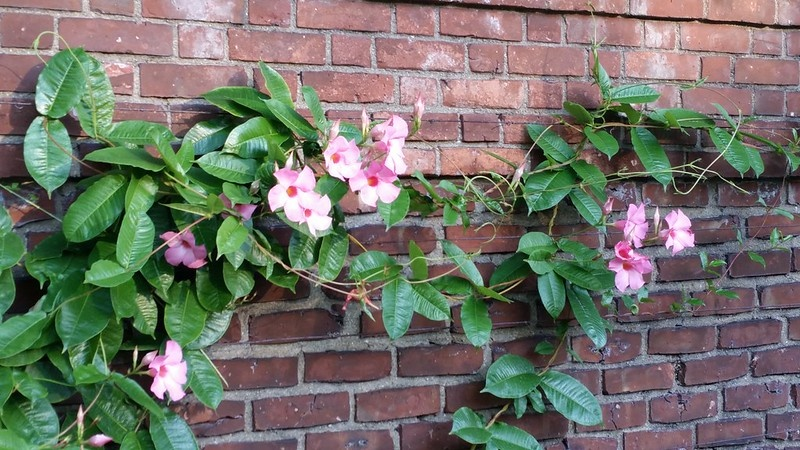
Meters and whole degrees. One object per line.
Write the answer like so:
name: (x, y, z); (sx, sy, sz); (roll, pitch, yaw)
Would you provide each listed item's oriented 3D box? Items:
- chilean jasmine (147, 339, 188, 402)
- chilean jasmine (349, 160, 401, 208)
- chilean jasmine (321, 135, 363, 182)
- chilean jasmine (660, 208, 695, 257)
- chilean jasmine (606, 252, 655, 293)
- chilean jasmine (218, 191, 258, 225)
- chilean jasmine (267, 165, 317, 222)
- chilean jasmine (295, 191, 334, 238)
chilean jasmine: (-0.774, 0.465, 2.567); (0.143, 0.177, 0.129); (11, 20, -6)
chilean jasmine: (-0.077, -0.134, 2.561); (0.174, 0.138, 0.073); (3, 22, -26)
chilean jasmine: (-0.185, -0.220, 2.492); (0.132, 0.135, 0.066); (0, 5, -8)
chilean jasmine: (0.990, 0.023, 2.807); (0.122, 0.150, 0.139); (11, 20, -5)
chilean jasmine: (0.818, 0.142, 2.735); (0.120, 0.117, 0.058); (23, -6, -22)
chilean jasmine: (-0.533, -0.052, 2.581); (0.145, 0.087, 0.113); (0, 24, -31)
chilean jasmine: (-0.352, -0.100, 2.517); (0.165, 0.165, 0.076); (-27, 10, -18)
chilean jasmine: (-0.276, -0.038, 2.518); (0.128, 0.130, 0.053); (13, 17, -17)
